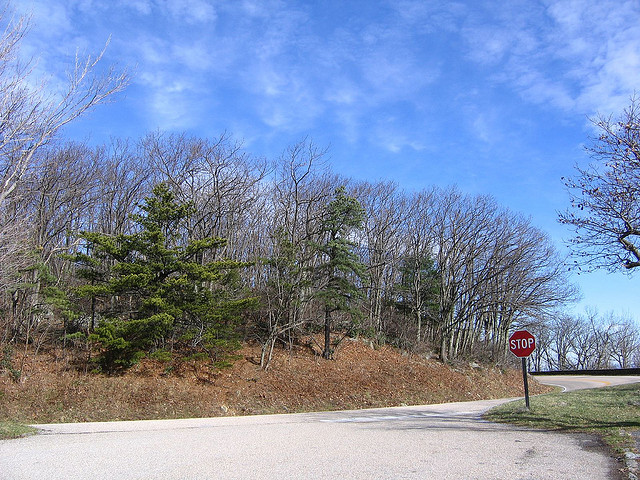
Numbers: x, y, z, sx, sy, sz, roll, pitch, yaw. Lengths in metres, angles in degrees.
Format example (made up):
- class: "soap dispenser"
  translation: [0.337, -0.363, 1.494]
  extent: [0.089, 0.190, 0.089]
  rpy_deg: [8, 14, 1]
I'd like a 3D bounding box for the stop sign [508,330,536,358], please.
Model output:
- class: "stop sign"
  translation: [7.712, 3.936, 19.162]
  extent: [0.906, 1.012, 0.585]
  rpy_deg: [-9, -13, 37]
